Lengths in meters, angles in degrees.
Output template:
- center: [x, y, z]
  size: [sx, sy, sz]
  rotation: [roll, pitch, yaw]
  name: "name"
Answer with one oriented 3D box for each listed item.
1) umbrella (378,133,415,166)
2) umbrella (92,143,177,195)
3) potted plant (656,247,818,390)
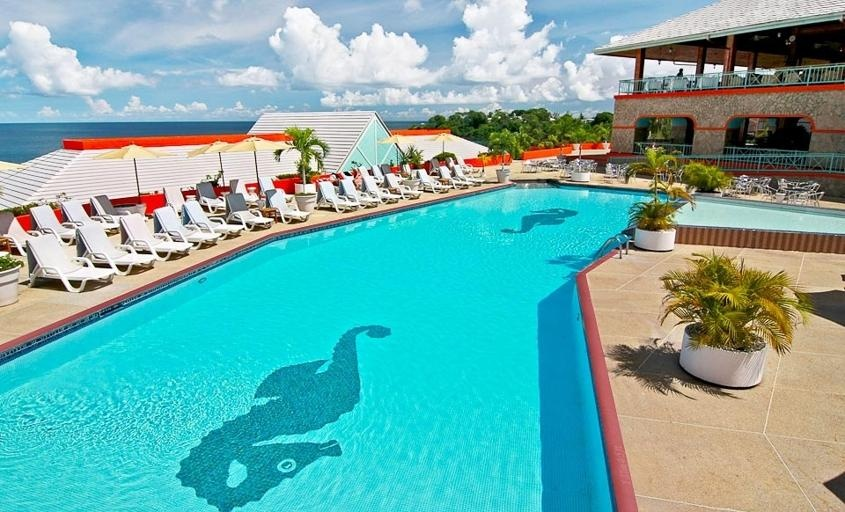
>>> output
- center: [-1.322, -5.499, 23.931]
  size: [2.178, 1.274, 1.981]
  rotation: [8, 20, 16]
  name: "umbrella"
- center: [-11.839, -3.479, 18.370]
  size: [3.019, 2.105, 2.589]
  rotation: [1, 15, 0]
  name: "umbrella"
- center: [5.288, 0.980, 8.064]
  size: [2.749, 2.010, 2.510]
  rotation: [4, 17, 19]
  name: "potted plant"
